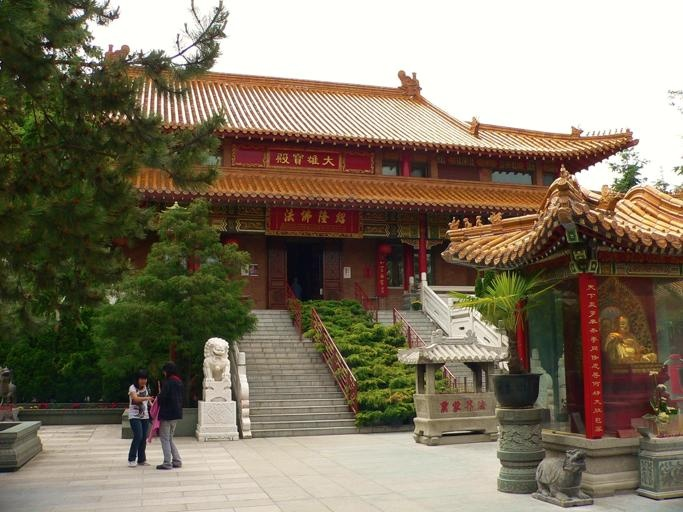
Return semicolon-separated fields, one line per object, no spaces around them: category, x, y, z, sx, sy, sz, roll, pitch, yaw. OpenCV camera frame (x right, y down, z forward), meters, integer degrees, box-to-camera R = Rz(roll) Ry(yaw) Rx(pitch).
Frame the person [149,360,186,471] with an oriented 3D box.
person;-2.956;2.749;11.653;0.428;1.801;0.757;2;-5;-13

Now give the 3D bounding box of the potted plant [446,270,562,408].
potted plant;2.601;1.325;10.519;1.399;1.948;1.691;9;-19;-32

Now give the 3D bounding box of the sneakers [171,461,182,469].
sneakers;-2.864;3.625;11.748;0.119;0.081;0.121;0;-10;8

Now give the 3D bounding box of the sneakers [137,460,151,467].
sneakers;-3.486;3.655;11.933;0.260;0.114;0.081;-11;-15;27

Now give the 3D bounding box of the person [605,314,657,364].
person;4.266;1.232;9.994;0.859;0.699;0.194;3;-5;-29

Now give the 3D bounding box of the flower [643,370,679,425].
flower;4.682;2.074;9.906;0.586;0.699;0.625;-7;-5;38
